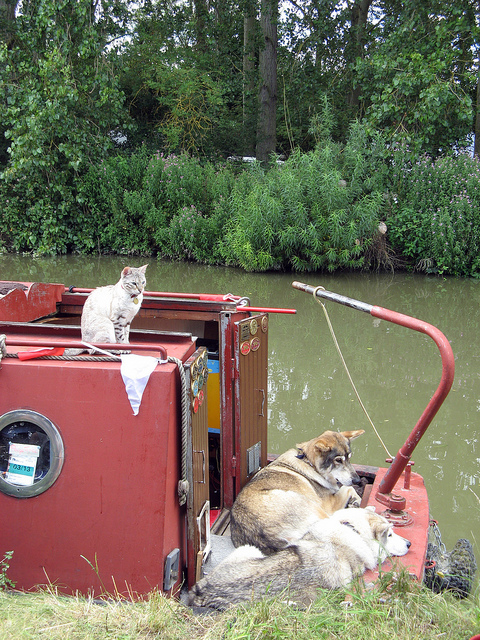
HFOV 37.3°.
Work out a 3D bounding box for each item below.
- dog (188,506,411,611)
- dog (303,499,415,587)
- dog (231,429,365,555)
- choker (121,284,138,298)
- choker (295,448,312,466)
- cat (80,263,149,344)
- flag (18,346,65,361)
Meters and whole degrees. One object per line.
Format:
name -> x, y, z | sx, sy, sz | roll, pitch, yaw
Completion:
dog -> 0.288, 1.192, 3.580 | 1.086, 0.416, 0.617 | -3, 13, -16
dog -> 0.567, 1.142, 3.580 | 0.553, 0.310, 0.452 | 11, 16, 39
dog -> 0.404, 1.101, 4.533 | 0.925, 0.613, 0.513 | -12, 5, -37
choker -> -0.801, -0.208, 5.104 | 0.069, 0.086, 0.024 | 8, 3, -32
choker -> 0.421, 0.922, 4.719 | 0.085, 0.078, 0.020 | -51, 5, -29
cat -> -0.886, -0.117, 4.972 | 0.516, 0.798, 0.408 | -3, 3, -14
flag -> -1.002, 0.157, 3.624 | 0.220, 0.040, 0.247 | -1, 13, -7
